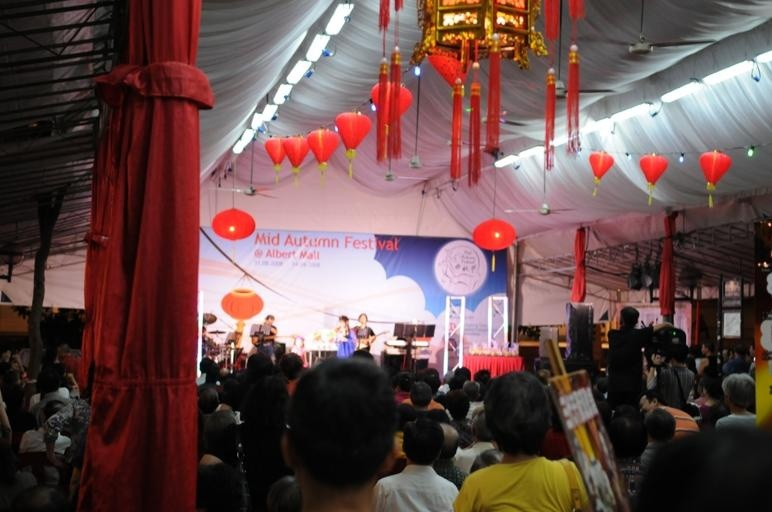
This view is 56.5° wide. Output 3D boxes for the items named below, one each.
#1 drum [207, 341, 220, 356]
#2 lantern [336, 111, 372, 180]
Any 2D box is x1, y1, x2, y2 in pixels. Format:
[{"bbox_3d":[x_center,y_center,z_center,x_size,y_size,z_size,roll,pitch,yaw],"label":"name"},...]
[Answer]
[{"bbox_3d":[-4.050,2.128,16.765,0.264,0.294,0.283,6,7,44],"label":"drum"},{"bbox_3d":[-0.537,-1.945,12.153,0.447,1.228,0.503,2,-2,-27],"label":"lantern"}]
